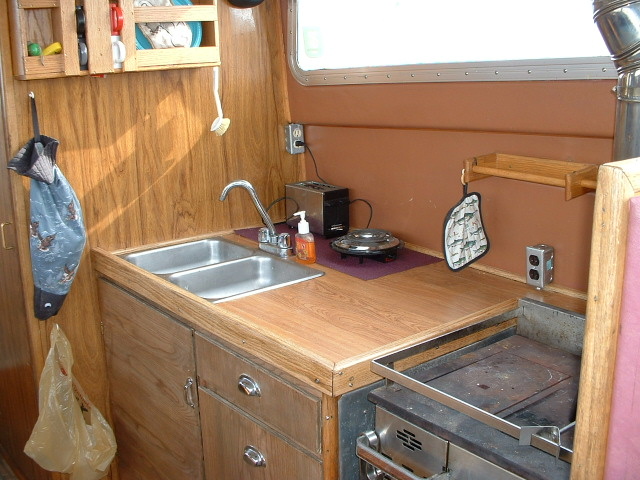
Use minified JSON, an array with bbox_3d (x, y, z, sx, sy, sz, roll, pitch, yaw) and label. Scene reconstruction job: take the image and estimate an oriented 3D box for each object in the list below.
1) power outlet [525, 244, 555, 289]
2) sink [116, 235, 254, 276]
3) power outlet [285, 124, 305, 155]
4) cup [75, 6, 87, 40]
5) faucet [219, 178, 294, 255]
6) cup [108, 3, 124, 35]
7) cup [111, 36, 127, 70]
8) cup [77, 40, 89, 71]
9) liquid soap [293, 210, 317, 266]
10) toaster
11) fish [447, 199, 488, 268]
[{"bbox_3d":[0.759,0.092,1.683,0.076,0.143,0.066,-14,19,-33],"label":"power outlet"},{"bbox_3d":[-0.628,0.067,2.263,0.321,0.080,0.269,-12,22,-41],"label":"sink"},{"bbox_3d":[-0.125,-0.516,2.501,0.111,0.169,0.098,-17,22,-41],"label":"power outlet"},{"bbox_3d":[-0.886,-0.802,1.819,0.041,0.110,0.052,-10,17,-21],"label":"cup"},{"bbox_3d":[-0.255,-0.096,2.115,0.265,0.315,0.269,-2,15,5],"label":"faucet"},{"bbox_3d":[-0.772,-0.833,1.861,0.050,0.095,0.028,-9,17,-20],"label":"cup"},{"bbox_3d":[-0.774,-0.742,1.889,0.035,0.063,0.093,-29,-1,-32],"label":"cup"},{"bbox_3d":[-0.887,-0.692,1.838,0.038,0.107,0.041,-3,16,1],"label":"cup"},{"bbox_3d":[-0.063,-0.024,2.077,0.095,0.196,0.230,-4,15,-2],"label":"liquid soap"},{"bbox_3d":[-0.009,-0.150,2.423,0.172,0.215,0.323,-13,20,-37],"label":"toaster"},{"bbox_3d":[0.502,-0.023,1.664,0.210,0.223,0.018,-24,26,-36],"label":"fish"}]
